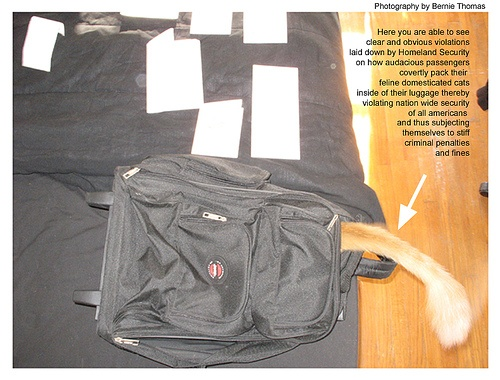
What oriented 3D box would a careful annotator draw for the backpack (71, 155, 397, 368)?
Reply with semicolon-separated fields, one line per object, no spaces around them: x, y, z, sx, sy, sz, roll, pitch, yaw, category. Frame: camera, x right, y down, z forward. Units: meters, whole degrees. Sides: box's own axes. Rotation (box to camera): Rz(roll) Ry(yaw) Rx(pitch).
-0.096;0.197;1.344;0.735;0.513;0.354;4;20;9;backpack
